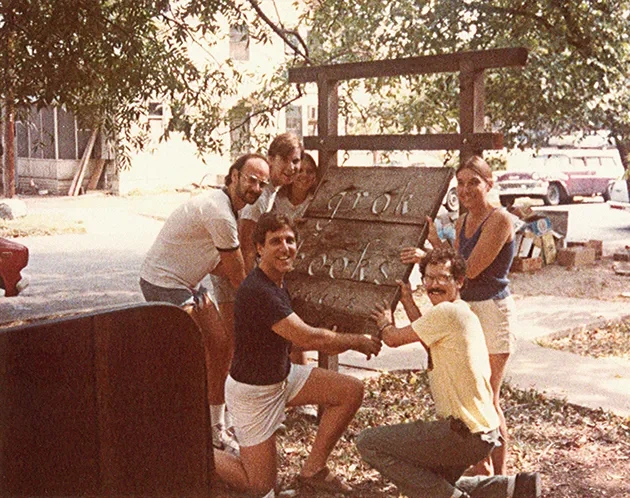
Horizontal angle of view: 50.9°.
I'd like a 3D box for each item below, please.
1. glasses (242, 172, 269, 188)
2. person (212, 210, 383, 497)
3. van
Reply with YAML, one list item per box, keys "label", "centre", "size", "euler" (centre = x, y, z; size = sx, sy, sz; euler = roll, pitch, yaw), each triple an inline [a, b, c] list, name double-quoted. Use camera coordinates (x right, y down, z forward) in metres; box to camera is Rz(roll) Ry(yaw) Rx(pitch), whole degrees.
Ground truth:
- label: "glasses"
  centre: [-0.410, -0.489, 4.707]
  size: [0.173, 0.096, 0.056]
  euler: [-8, 11, -41]
- label: "person"
  centre: [-0.179, 0.758, 4.279]
  size: [0.958, 1.987, 0.460]
  euler: [-2, 8, -13]
- label: "van"
  centre: [8.514, -2.767, 23.840]
  size: [6.320, 2.413, 2.612]
  euler: [-3, 1, -39]
